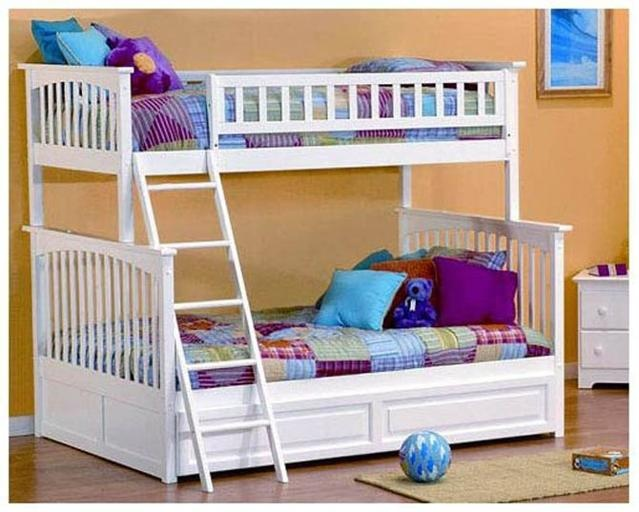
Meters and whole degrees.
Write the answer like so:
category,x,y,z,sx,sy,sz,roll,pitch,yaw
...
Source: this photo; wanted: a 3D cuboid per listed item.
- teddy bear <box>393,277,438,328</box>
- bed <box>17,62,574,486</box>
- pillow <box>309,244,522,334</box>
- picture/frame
category,x,y,z,sx,sy,sz,roll,pitch,yaw
teddy bear,0.582,0.279,5.949,0.280,0.341,0.288,2,-4,22
bed,-0.254,-0.085,6.275,2.795,2.142,1.759,-6,5,-41
pillow,0.601,0.225,5.980,0.791,0.239,0.633,-5,8,-6
picture/frame,1.776,-1.452,7.043,0.655,0.733,0.037,-1,6,-8
